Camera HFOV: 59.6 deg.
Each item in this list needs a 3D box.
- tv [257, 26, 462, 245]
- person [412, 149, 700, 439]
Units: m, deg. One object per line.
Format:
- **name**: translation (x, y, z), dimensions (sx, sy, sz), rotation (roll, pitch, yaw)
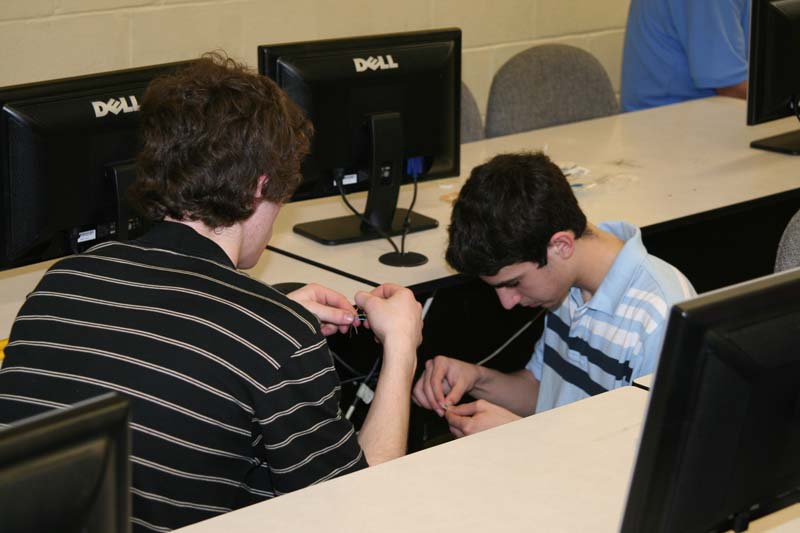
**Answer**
- **tv**: translation (-0.110, -0.384, 2.094), dimensions (0.615, 0.568, 0.225), rotation (-12, 30, -24)
- **person**: translation (0.378, 0.090, 1.851), dimensions (0.561, 0.766, 0.529), rotation (-32, 27, -8)
